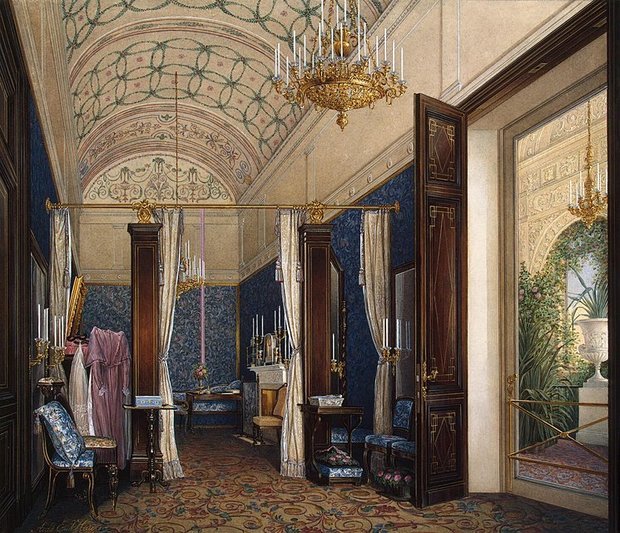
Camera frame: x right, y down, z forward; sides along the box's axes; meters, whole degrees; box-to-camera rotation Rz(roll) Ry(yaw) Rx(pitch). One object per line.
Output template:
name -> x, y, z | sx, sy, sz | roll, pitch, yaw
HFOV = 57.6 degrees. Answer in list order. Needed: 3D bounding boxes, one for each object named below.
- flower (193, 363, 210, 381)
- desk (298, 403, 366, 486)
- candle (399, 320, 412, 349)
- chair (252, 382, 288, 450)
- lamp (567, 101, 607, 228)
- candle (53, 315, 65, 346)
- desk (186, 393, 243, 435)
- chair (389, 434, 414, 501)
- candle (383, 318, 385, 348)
flower -> -2.856, 2.809, 14.752 | 0.399, 0.490, 0.685 | 1, -9, -13
desk -> 0.251, 2.247, 7.163 | 0.507, 0.992, 0.956 | 5, -9, -18
candle -> 1.181, 0.850, 6.980 | 0.069, 0.371, 0.259 | 3, -9, -25
chair -> -0.727, 2.753, 10.273 | 0.581, 1.149, 2.168 | 0, -10, -6
lamp -> 3.549, -1.273, 7.257 | 0.409, 1.579, 1.179 | -4, -9, 27
candle -> -2.832, 0.746, 6.365 | 0.114, 0.362, 0.431 | 3, -10, -27
desk -> -2.410, 3.624, 14.163 | 1.344, 0.924, 1.370 | 2, -10, -14
chair -> 1.044, 2.224, 6.232 | 0.375, 0.543, 0.433 | 0, -11, 7
candle -> 0.940, 0.841, 7.020 | 0.050, 0.354, 0.195 | -1, -8, 8
